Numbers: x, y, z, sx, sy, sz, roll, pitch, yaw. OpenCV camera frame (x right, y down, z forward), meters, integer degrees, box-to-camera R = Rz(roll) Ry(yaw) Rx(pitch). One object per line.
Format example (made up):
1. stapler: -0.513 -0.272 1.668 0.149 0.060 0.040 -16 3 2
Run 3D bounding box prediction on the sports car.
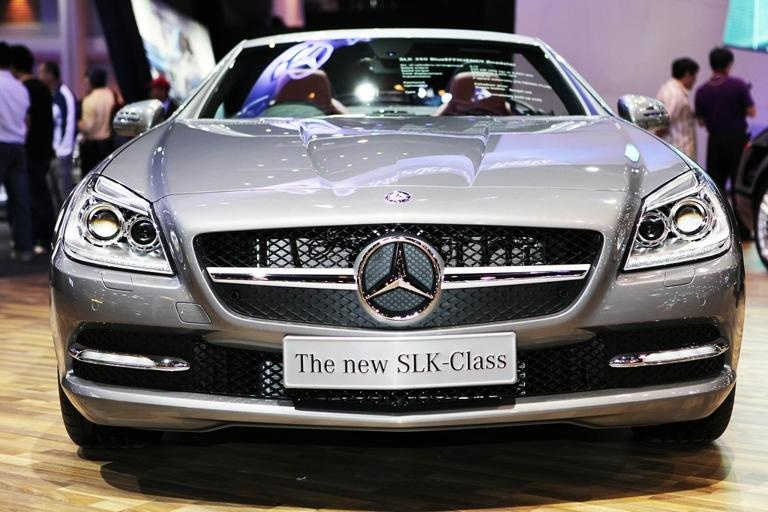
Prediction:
1. sports car: 0.078 -0.487 3.603 2.298 1.298 3.549 0 16 3
